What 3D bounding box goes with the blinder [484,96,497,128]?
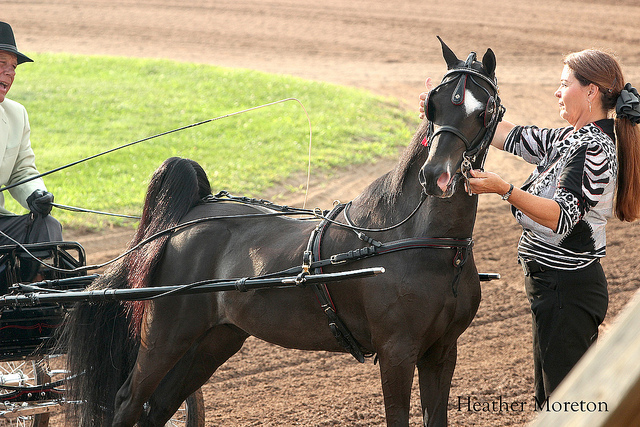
[{"bbox_3d":[2.598,-1.534,24.133,0.115,0.466,0.211,13,20,31],"label":"blinder"}]
